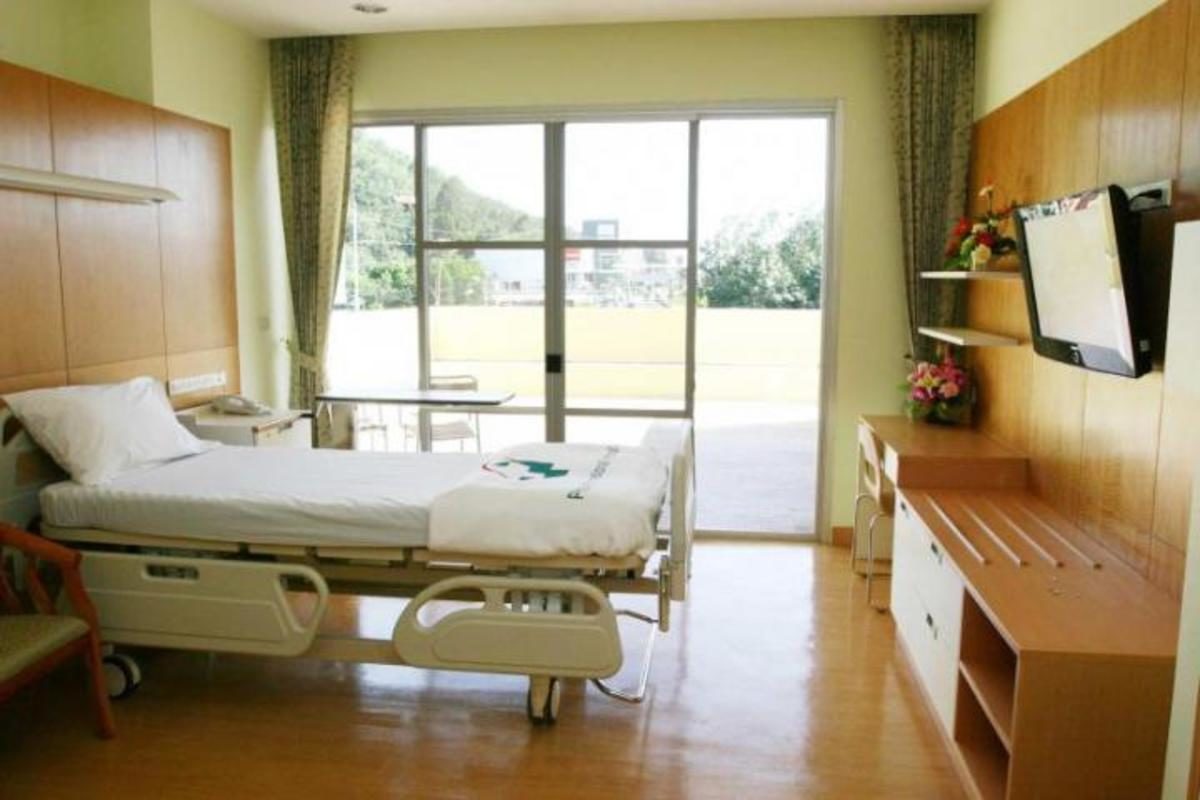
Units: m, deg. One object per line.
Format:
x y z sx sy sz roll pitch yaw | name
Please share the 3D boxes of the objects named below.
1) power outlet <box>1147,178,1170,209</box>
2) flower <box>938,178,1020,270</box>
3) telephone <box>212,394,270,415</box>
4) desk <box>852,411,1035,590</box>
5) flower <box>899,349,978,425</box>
2.231 -0.815 3.495 0.026 0.093 0.089 2 1 -14 | power outlet
2.158 -0.935 4.879 0.442 0.501 0.473 1 1 40 | flower
-2.249 0.038 5.517 0.222 0.075 0.165 0 3 1 | telephone
1.751 0.482 4.430 0.399 0.627 0.997 0 10 2 | desk
2.054 -0.088 5.303 0.460 0.439 0.445 1 5 29 | flower
